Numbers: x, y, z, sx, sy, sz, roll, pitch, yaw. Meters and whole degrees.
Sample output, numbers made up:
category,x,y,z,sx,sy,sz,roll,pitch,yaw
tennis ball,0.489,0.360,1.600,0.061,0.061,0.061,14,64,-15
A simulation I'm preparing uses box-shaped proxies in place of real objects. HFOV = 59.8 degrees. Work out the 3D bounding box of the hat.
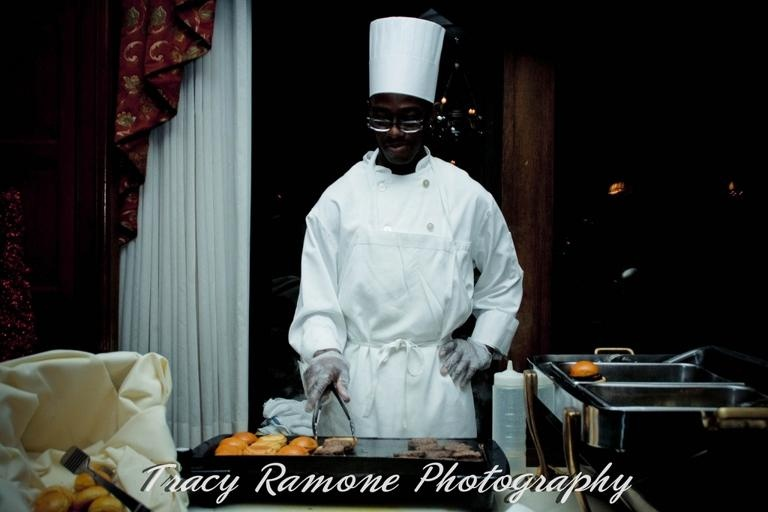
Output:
category,x,y,z,sx,sy,sz,roll,pitch,yaw
hat,0.092,-0.802,2.871,0.329,0.296,0.371,5,-13,-2

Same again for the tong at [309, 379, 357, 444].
category,x,y,z,sx,sy,sz,roll,pitch,yaw
tong,-0.183,0.566,2.449,0.150,0.267,0.068,-4,-8,7

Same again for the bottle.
category,x,y,z,sx,sy,sz,roll,pitch,yaw
bottle,0.516,0.630,2.626,0.147,0.415,0.215,4,5,-13

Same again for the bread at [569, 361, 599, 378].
category,x,y,z,sx,sy,sz,roll,pitch,yaw
bread,0.740,0.417,2.496,0.068,0.053,0.069,2,-8,3

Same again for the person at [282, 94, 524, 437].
category,x,y,z,sx,sy,sz,roll,pitch,yaw
person,0.099,0.132,2.803,0.964,1.191,0.476,3,5,-26
